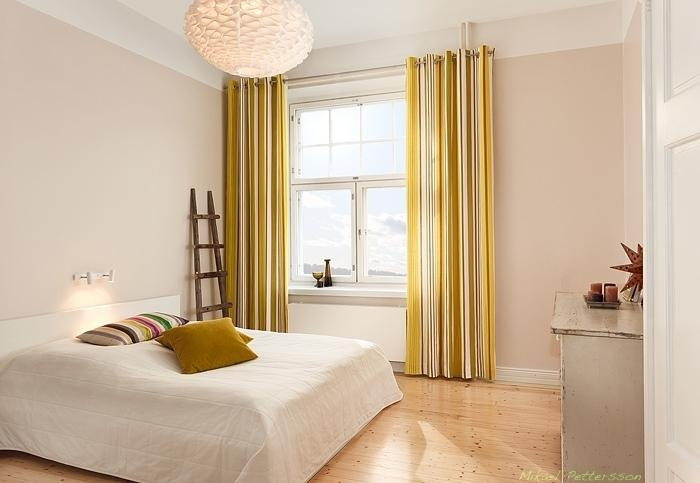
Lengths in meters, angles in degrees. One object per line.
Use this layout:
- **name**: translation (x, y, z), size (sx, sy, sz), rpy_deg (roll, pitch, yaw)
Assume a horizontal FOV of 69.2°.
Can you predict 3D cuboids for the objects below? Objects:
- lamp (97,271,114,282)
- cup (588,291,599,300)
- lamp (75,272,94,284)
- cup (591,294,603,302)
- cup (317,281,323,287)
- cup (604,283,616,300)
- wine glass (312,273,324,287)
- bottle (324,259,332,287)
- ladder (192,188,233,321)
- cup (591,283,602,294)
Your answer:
- **lamp**: translation (-2.069, 0.293, 4.274), size (0.093, 0.056, 0.095), rpy_deg (5, 8, 23)
- **cup**: translation (1.658, 0.372, 3.469), size (0.052, 0.040, 0.053), rpy_deg (0, 2, 0)
- **lamp**: translation (-2.171, 0.297, 4.141), size (0.094, 0.073, 0.090), rpy_deg (1, -1, -1)
- **cup**: translation (1.684, 0.382, 3.455), size (0.059, 0.038, 0.060), rpy_deg (-2, -1, 0)
- **cup**: translation (-0.331, 0.471, 5.555), size (0.065, 0.068, 0.067), rpy_deg (-1, -9, 0)
- **cup**: translation (1.778, 0.344, 3.442), size (0.097, 0.110, 0.096), rpy_deg (-1, -2, 0)
- **wine glass**: translation (-0.346, 0.416, 5.554), size (0.138, 0.153, 0.136), rpy_deg (-6, -7, 40)
- **bottle**: translation (-0.244, 0.346, 5.608), size (0.099, 0.285, 0.197), rpy_deg (-1, 8, -3)
- **ladder**: translation (-1.440, 0.139, 5.286), size (0.332, 1.384, 0.655), rpy_deg (2, 8, 17)
- **cup**: translation (1.757, 0.331, 3.623), size (0.093, 0.091, 0.096), rpy_deg (0, -1, 0)
